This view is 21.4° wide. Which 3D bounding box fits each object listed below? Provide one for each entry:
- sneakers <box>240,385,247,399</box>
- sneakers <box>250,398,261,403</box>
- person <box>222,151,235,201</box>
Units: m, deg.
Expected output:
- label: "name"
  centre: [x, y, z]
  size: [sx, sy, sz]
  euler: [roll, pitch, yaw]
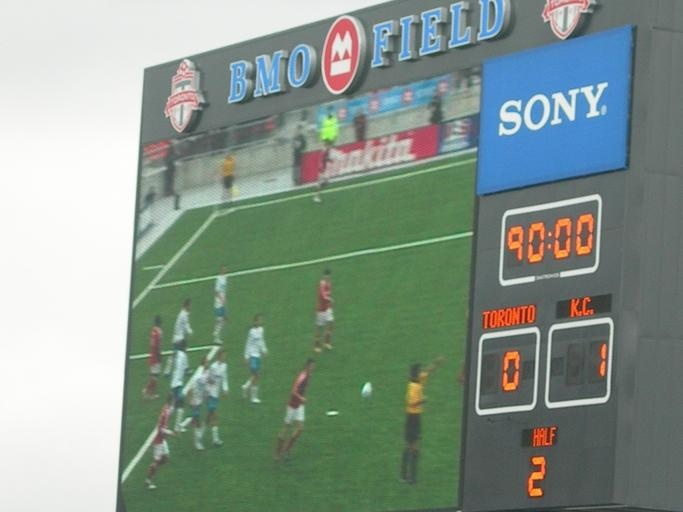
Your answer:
- label: "sneakers"
  centre: [-1.487, 2.072, 27.408]
  size: [0.059, 0.178, 0.099]
  euler: [3, -10, -43]
- label: "sneakers"
  centre: [-1.300, 2.194, 27.223]
  size: [0.145, 0.100, 0.054]
  euler: [-16, -17, 42]
- label: "person"
  centre: [-1.788, -1.216, 28.529]
  size: [0.087, 0.767, 0.304]
  euler: [13, -23, -39]
